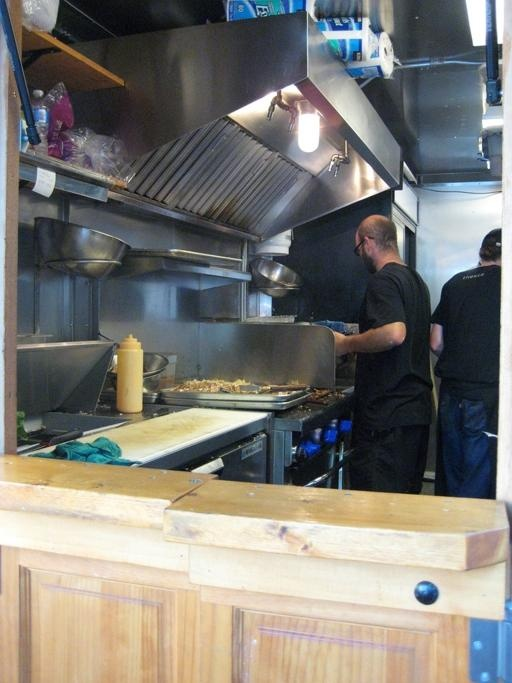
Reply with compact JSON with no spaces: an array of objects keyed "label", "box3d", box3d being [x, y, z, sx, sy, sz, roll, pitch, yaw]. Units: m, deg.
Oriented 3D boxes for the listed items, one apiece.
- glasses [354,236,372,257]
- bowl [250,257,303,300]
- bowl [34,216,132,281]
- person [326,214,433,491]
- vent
[{"label":"glasses","box3d":[0.497,-0.443,2.820,0.096,0.089,0.028,-8,-7,-29]},{"label":"bowl","box3d":[0.131,-0.420,3.892,0.372,0.245,0.184,1,2,-13]},{"label":"bowl","box3d":[-0.560,-0.304,1.984,0.312,0.179,0.224,0,2,-19]},{"label":"person","box3d":[0.555,0.153,2.625,0.429,1.006,0.393,1,2,5]},{"label":"vent","box3d":[-0.070,-0.798,2.729,0.618,0.244,1.093,-10,-4,25]}]
